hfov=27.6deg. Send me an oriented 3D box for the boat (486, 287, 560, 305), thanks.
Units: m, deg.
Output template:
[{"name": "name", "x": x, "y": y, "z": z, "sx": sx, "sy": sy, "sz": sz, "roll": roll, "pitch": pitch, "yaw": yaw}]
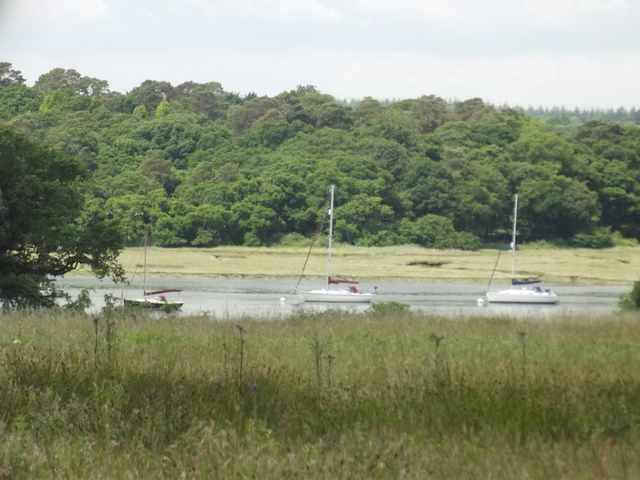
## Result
[{"name": "boat", "x": 20.223, "y": 5.454, "z": 127.732, "sx": 7.508, "sy": 2.126, "sz": 2.545, "roll": 3, "pitch": -6, "yaw": 0}]
